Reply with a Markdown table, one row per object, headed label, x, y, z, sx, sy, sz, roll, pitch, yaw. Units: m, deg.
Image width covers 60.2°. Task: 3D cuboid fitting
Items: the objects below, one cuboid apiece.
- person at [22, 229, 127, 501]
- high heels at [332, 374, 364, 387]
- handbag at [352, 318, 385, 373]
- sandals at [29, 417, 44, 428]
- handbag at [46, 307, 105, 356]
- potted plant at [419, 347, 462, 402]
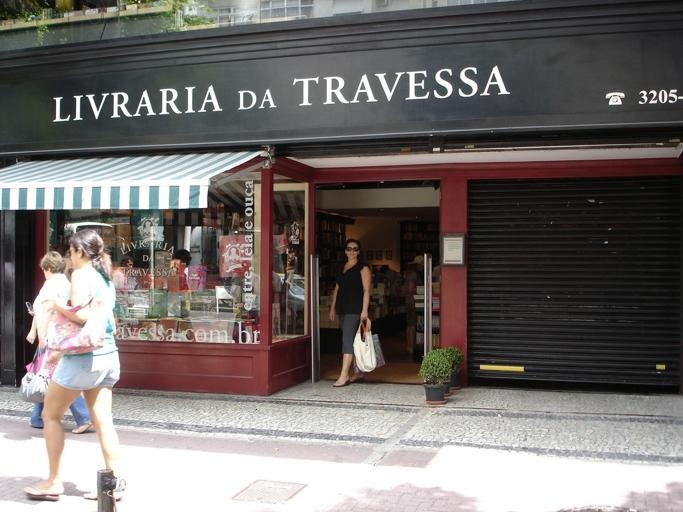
| label | x | y | z | sx | sy | sz | roll | pitch | yaw |
| --- | --- | --- | --- | --- | --- | --- | --- | --- | --- |
| person | -2.151 | 0.939 | 4.957 | 0.611 | 2.328 | 0.760 | 0 | 0 | -39 |
| high heels | 0.110 | 2.006 | 9.416 | 0.171 | 0.210 | 0.519 | -9 | -12 | 42 |
| handbag | 0.414 | 1.446 | 9.292 | 0.481 | 0.812 | 0.402 | 0 | 0 | -11 |
| sandals | -3.701 | 2.021 | 7.109 | 0.242 | 0.100 | 0.080 | 1 | 3 | 2 |
| handbag | -2.164 | 0.621 | 4.841 | 0.430 | 0.435 | 0.222 | 0 | -25 | -3 |
| potted plant | 1.415 | 1.502 | 8.405 | 0.590 | 0.754 | 1.118 | 0 | -2 | 17 |
